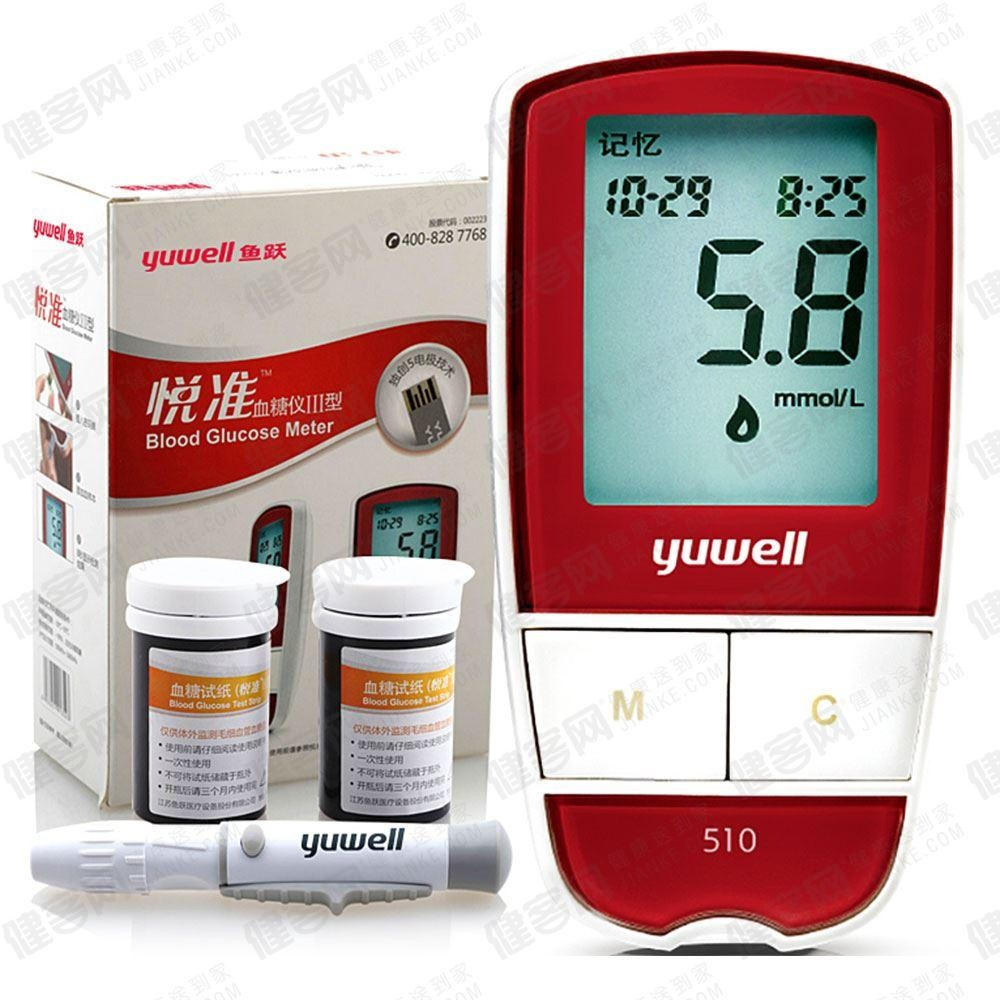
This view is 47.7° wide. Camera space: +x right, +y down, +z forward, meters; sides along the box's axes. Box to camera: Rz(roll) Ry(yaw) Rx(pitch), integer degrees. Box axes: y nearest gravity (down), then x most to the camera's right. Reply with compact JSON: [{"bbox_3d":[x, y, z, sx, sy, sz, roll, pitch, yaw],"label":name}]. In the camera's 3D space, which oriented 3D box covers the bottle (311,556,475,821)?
[{"bbox_3d":[-0.108,0.179,1.086,0.141,0.243,0.143,2,11,0],"label":"bottle"}]
